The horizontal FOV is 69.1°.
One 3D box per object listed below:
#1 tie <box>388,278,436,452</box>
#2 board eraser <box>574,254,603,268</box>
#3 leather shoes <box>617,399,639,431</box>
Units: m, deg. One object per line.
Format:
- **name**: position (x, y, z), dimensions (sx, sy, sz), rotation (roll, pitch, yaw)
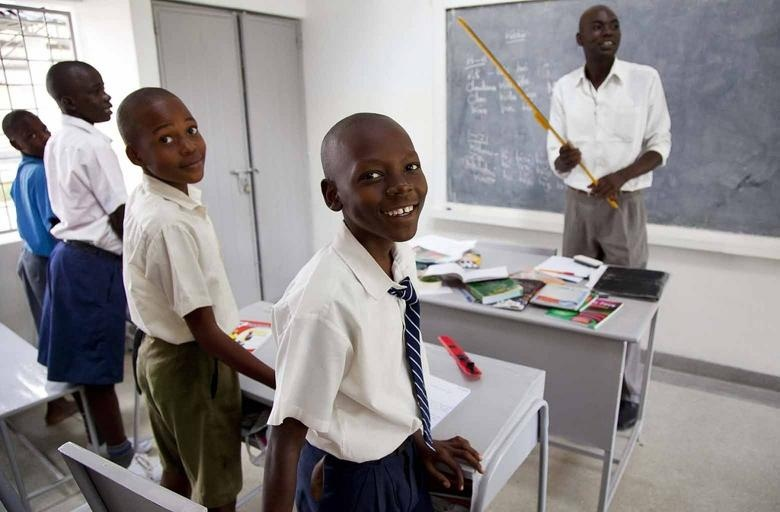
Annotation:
- **tie**: position (0.072, 0.330, 1.950), dimensions (0.100, 0.692, 0.096), rotation (-1, 6, 33)
- **board eraser**: position (1.117, 0.028, 3.191), dimensions (0.098, 0.023, 0.095), rotation (-9, 20, -40)
- **leather shoes**: position (1.382, 0.920, 3.298), dimensions (0.160, 0.103, 0.201), rotation (0, 10, 20)
